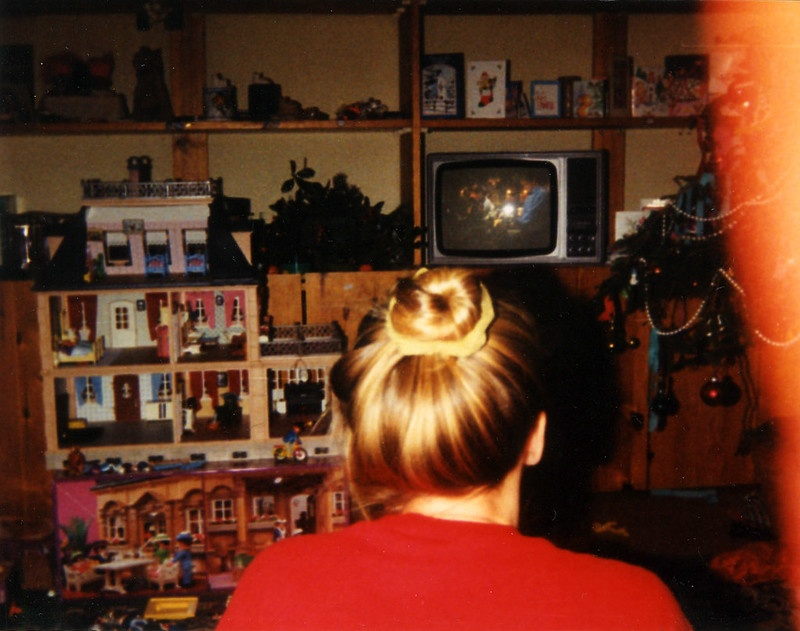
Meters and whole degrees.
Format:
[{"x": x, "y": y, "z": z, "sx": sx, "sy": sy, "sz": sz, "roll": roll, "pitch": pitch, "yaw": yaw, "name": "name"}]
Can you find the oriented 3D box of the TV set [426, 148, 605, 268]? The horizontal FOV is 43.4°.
[{"x": 0.459, "y": -0.374, "z": 4.296, "sx": 0.737, "sy": 0.512, "sz": 0.455, "roll": -1, "pitch": -17, "yaw": -4, "name": "TV set"}]
